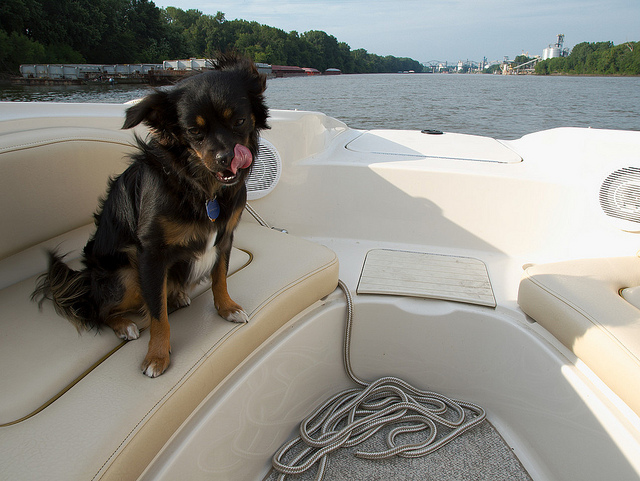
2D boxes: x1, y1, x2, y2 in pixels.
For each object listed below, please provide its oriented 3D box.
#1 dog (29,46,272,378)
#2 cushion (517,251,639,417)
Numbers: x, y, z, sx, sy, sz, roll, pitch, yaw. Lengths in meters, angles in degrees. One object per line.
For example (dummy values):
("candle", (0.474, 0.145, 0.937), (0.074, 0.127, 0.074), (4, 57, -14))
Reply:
("dog", (-0.746, -0.185, 1.801), (0.923, 1.236, 0.601), (13, 23, 11))
("cushion", (1.264, 0.419, 1.911), (0.508, 0.193, 0.557), (-13, 26, -19))
